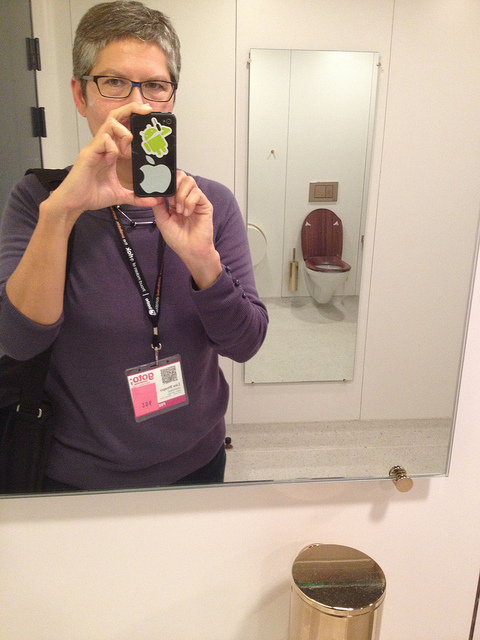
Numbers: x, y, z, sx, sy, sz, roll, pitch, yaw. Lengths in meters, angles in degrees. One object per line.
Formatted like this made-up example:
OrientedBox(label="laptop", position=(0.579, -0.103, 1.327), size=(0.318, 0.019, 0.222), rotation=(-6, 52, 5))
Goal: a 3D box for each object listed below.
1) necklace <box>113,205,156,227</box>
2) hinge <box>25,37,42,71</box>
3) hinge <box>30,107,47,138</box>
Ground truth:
OrientedBox(label="necklace", position=(-0.138, -0.136, 0.662), size=(0.052, 0.027, 0.007), rotation=(3, 18, 9))
OrientedBox(label="hinge", position=(-0.257, -0.334, 0.630), size=(0.026, 0.039, 0.008), rotation=(10, 20, 29))
OrientedBox(label="hinge", position=(-0.258, -0.253, 0.643), size=(0.025, 0.036, 0.007), rotation=(12, 21, 34))
